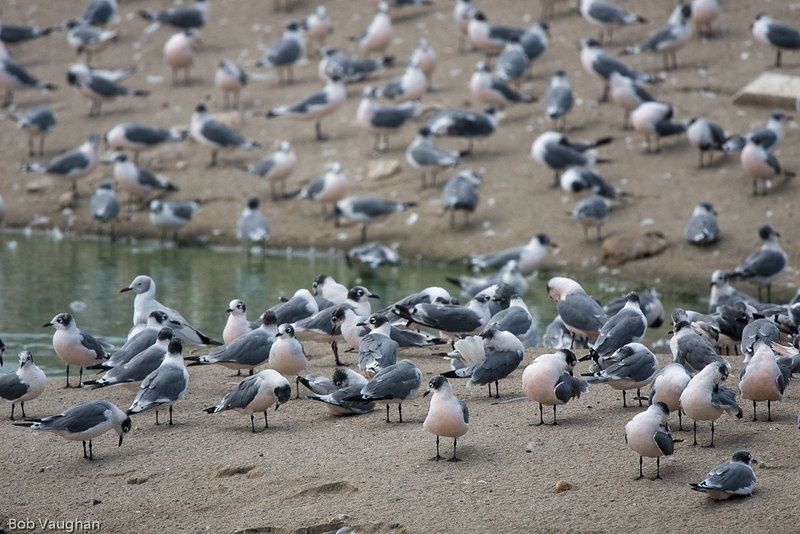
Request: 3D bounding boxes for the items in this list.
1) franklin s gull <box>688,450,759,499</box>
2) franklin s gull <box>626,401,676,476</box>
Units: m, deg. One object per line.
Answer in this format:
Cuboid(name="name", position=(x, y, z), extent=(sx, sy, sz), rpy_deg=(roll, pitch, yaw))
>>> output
Cuboid(name="franklin s gull", position=(5.407, 3.493, 26.366), extent=(1.318, 0.694, 0.732), rpy_deg=(-5, 4, -28))
Cuboid(name="franklin s gull", position=(4.261, 2.956, 26.782), extent=(0.784, 1.247, 0.525), rpy_deg=(-6, 11, 6))
